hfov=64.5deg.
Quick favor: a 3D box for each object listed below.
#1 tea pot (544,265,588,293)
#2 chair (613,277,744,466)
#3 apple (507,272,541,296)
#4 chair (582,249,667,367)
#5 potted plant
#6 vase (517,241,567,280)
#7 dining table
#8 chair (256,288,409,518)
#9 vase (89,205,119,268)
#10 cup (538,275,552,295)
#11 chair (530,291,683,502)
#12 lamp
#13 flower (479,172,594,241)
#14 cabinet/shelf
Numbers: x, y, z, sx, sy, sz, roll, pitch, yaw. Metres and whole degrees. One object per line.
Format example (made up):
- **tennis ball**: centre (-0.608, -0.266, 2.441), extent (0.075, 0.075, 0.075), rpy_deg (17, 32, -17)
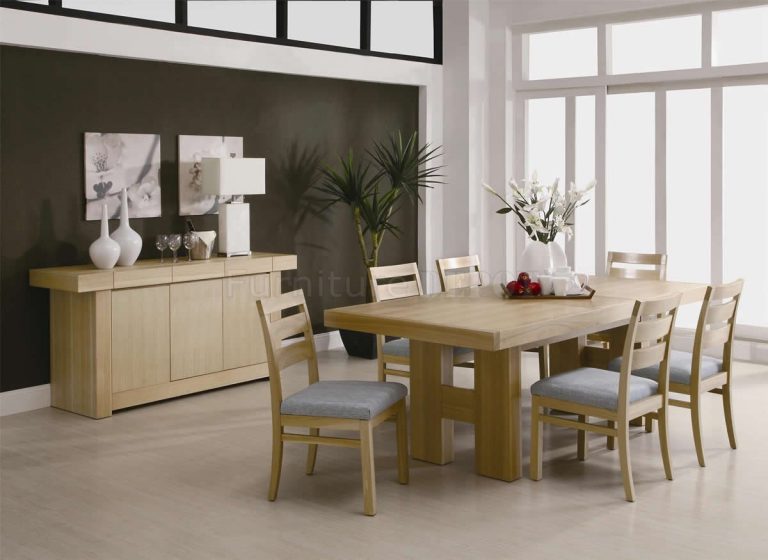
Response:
- **tea pot**: centre (1.229, -0.002, 4.128), extent (0.186, 0.128, 0.272), rpy_deg (-2, 3, -38)
- **chair**: centre (1.949, 0.569, 4.064), extent (0.736, 1.091, 0.712), rpy_deg (0, 3, 33)
- **apple**: centre (0.969, 0.027, 4.208), extent (0.147, 0.106, 0.196), rpy_deg (5, 1, 16)
- **chair**: centre (1.883, 0.231, 4.983), extent (0.575, 0.956, 0.637), rpy_deg (9, 5, 44)
- **potted plant**: centre (-0.096, -0.571, 6.527), extent (1.650, 1.947, 1.047), rpy_deg (-3, -11, 26)
- **vase**: centre (1.140, -0.134, 4.462), extent (0.278, 0.332, 0.283), rpy_deg (-1, 1, -12)
- **dining table**: centre (0.613, 0.384, 3.954), extent (0.793, 0.639, 1.508), rpy_deg (-29, 13, -25)
- **chair**: centre (-0.257, 0.635, 3.403), extent (0.722, 1.116, 0.540), rpy_deg (2, 9, 18)
- **vase**: centre (-2.184, -0.333, 4.777), extent (0.203, 0.476, 0.241), rpy_deg (0, 8, 2)
- **cup**: centre (1.106, 0.035, 4.094), extent (0.123, 0.117, 0.083), rpy_deg (-1, -1, 31)
- **chair**: centre (1.336, 0.629, 3.612), extent (0.698, 1.084, 0.656), rpy_deg (2, 4, 41)
- **lamp**: centre (-1.377, -0.666, 5.517), extent (0.532, 0.878, 0.449), rpy_deg (-5, 9, -27)
- **flower**: centre (1.196, -0.461, 4.427), extent (0.688, 0.431, 0.572), rpy_deg (-3, -3, 39)
- **cabinet/shelf**: centre (-1.773, 0.398, 5.309), extent (0.620, 1.168, 2.062), rpy_deg (8, 9, 34)
